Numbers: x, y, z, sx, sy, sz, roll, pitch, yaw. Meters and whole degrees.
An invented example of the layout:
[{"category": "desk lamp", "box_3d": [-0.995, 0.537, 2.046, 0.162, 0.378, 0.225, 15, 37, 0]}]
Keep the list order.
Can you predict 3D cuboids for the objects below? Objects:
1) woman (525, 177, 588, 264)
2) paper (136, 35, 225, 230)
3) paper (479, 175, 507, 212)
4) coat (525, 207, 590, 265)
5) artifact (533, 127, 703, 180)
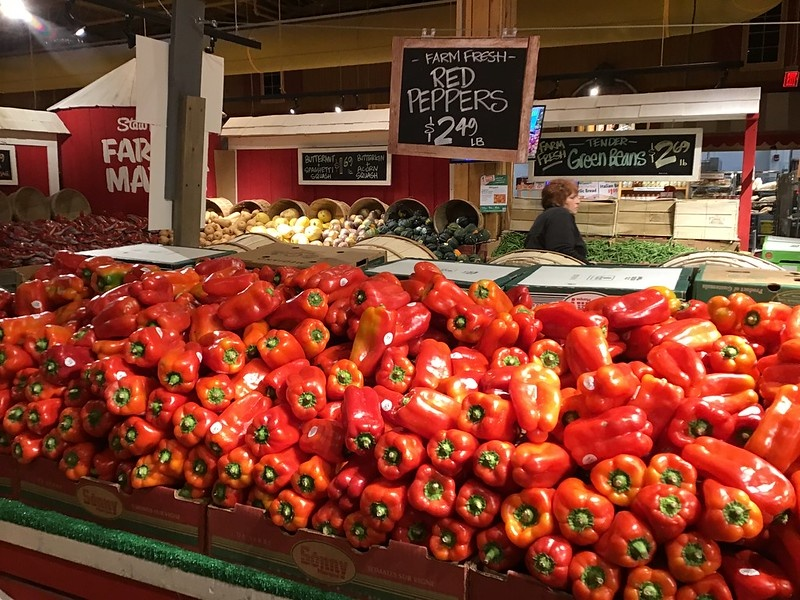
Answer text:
[{"category": "woman", "box_3d": [1.653, -0.739, 6.019, 0.624, 1.042, 1.017, 4, 0, 4]}, {"category": "paper", "box_3d": [-1.417, -1.006, 3.583, 0.308, 1.125, 0.672, 8, 15, 30]}, {"category": "paper", "box_3d": [1.219, -1.402, 7.440, 0.477, 0.585, 0.062, 0, 8, 3]}, {"category": "coat", "box_3d": [1.635, -0.629, 5.967, 0.557, 0.698, 0.996, 2, 3, -1]}, {"category": "artifact", "box_3d": [2.681, -1.787, 7.112, 1.955, 0.643, 0.210, 8, 15, 24]}]
